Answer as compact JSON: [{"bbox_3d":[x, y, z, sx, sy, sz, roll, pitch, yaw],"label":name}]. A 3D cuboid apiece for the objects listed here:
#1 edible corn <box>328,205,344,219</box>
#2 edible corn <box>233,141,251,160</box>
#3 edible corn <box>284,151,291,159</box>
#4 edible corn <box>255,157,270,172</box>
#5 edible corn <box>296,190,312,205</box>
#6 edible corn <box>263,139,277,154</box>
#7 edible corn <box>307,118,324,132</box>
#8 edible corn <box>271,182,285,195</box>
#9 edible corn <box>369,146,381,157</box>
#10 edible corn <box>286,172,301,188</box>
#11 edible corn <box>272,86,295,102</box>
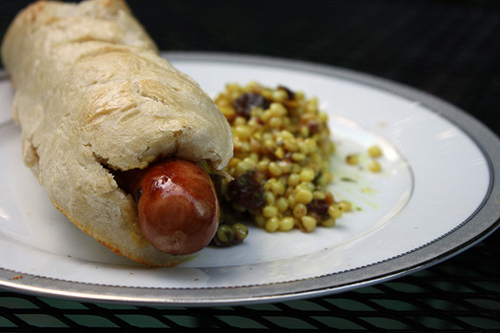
[{"bbox_3d":[0.337,0.171,1.936,0.040,0.027,0.050,-1,24,1],"label":"edible corn"},{"bbox_3d":[-0.031,-0.067,2.088,0.059,0.042,0.077,-4,32,-7],"label":"edible corn"},{"bbox_3d":[0.158,-0.046,2.106,0.020,0.009,0.025,-2,58,10],"label":"edible corn"},{"bbox_3d":[0.056,-0.002,2.075,0.065,0.040,0.046,-32,77,-8],"label":"edible corn"},{"bbox_3d":[0.217,0.112,1.964,0.055,0.030,0.051,-8,31,-3],"label":"edible corn"},{"bbox_3d":[0.090,-0.087,2.130,0.056,0.023,0.057,43,79,11],"label":"edible corn"},{"bbox_3d":[0.297,-0.180,2.257,0.075,0.047,0.052,-23,76,-6],"label":"edible corn"},{"bbox_3d":[0.115,0.086,2.020,0.053,0.040,0.043,17,76,5],"label":"edible corn"},{"bbox_3d":[0.568,-0.066,2.294,0.042,0.023,0.042,-12,49,4],"label":"edible corn"},{"bbox_3d":[0.178,0.058,2.042,0.045,0.058,0.043,-9,74,-3],"label":"edible corn"},{"bbox_3d":[0.154,-0.324,2.298,0.066,0.032,0.086,14,28,-8],"label":"edible corn"}]
